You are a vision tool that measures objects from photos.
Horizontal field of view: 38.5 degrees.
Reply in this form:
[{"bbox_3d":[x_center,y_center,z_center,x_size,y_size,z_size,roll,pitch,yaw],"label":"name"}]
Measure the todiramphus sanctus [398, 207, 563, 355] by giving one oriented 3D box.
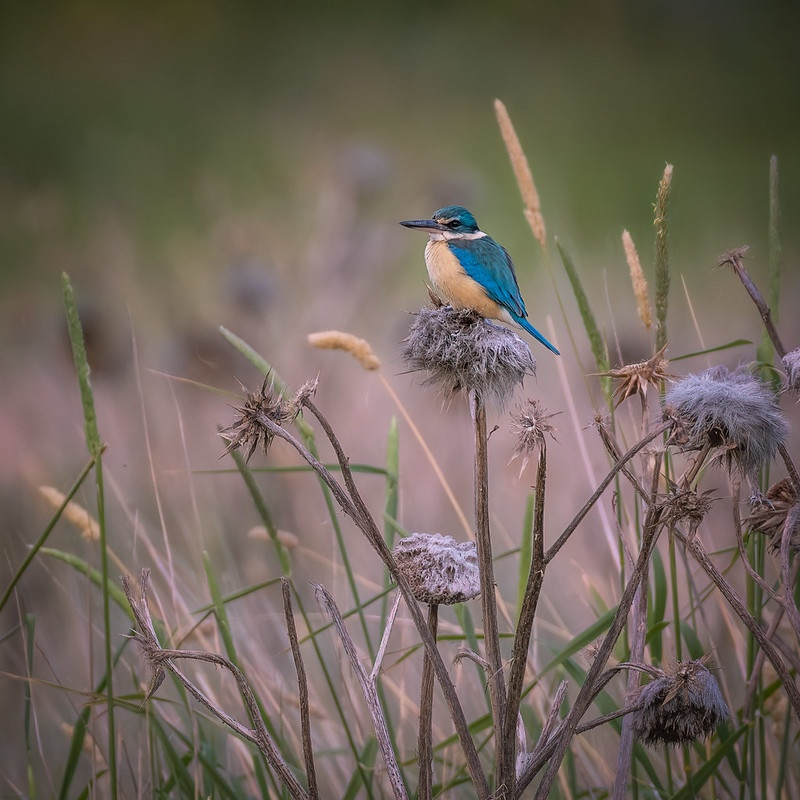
[{"bbox_3d":[0.222,-0.291,2.989,0.349,0.405,0.205,1,-14,2],"label":"todiramphus sanctus"}]
